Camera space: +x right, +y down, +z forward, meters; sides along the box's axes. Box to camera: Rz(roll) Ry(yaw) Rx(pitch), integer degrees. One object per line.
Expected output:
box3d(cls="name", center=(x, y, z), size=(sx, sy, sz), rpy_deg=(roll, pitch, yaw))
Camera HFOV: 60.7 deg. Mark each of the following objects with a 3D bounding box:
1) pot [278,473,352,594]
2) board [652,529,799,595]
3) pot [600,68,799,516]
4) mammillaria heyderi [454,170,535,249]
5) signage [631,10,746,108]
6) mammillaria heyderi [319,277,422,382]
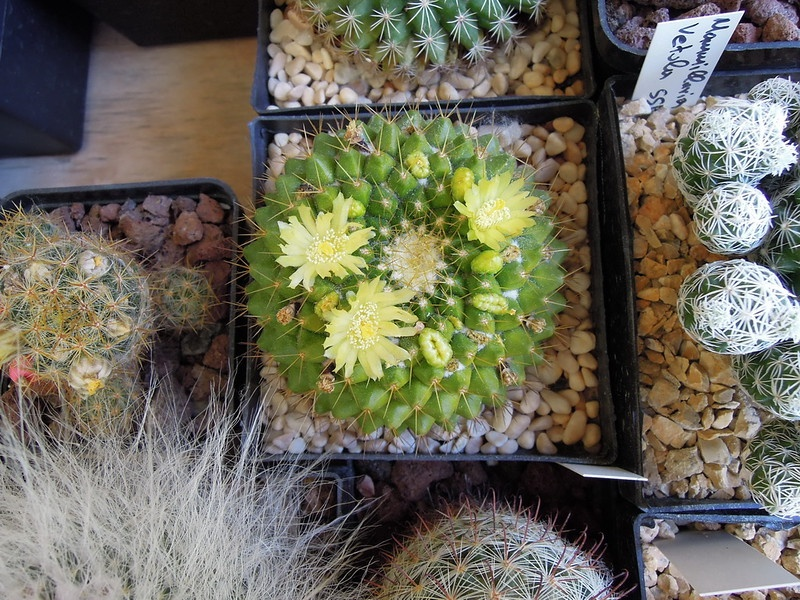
box3d(cls="pot", center=(-0.220, 0.606, 1.850), size=(0.247, 0.149, 0.293), rpy_deg=(-2, 80, -8))
box3d(cls="board", center=(0.792, 0.649, 1.668), size=(0.144, 0.242, 0.004), rpy_deg=(-7, 106, 2))
box3d(cls="pot", center=(0.718, -0.021, 1.791), size=(0.604, 0.343, 1.112), rpy_deg=(1, 91, 7))
box3d(cls="mammillaria heyderi", center=(0.220, -0.206, 1.548), size=(0.168, 0.087, 0.180), rpy_deg=(21, 84, -18))
box3d(cls="signage", center=(0.747, -0.622, 1.799), size=(0.206, 0.297, 0.009), rpy_deg=(-7, 55, 3))
box3d(cls="mammillaria heyderi", center=(-0.083, 0.029, 1.512), size=(0.170, 0.172, 0.077), rpy_deg=(-5, 40, -25))
